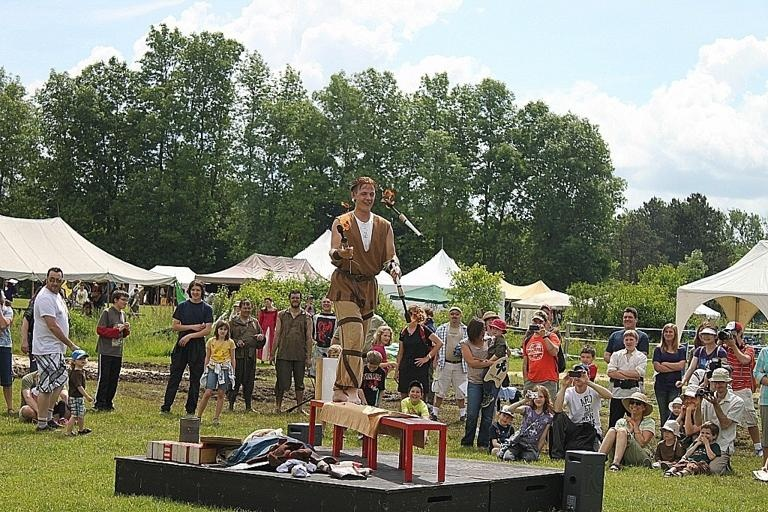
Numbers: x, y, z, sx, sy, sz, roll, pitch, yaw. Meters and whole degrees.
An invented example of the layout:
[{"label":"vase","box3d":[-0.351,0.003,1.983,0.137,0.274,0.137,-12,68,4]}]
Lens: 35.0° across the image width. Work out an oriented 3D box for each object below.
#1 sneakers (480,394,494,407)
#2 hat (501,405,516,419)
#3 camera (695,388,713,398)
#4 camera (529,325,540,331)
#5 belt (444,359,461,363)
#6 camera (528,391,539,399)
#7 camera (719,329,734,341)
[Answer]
[{"label":"sneakers","box3d":[2.932,4.137,34.820,0.178,0.183,0.440,-26,4,37]},{"label":"hat","box3d":[3.474,4.402,34.709,0.383,0.346,0.560,3,-5,7]},{"label":"camera","box3d":[8.838,3.766,33.728,0.562,0.232,0.178,4,-5,-18]},{"label":"camera","box3d":[4.240,2.067,34.964,0.172,0.194,0.396,5,-5,-25]},{"label":"belt","box3d":[2.021,3.123,36.127,0.452,0.102,0.172,3,-5,0]},{"label":"camera","box3d":[4.105,3.861,33.985,0.215,0.216,0.395,4,-5,-6]},{"label":"camera","box3d":[9.762,2.260,34.925,0.314,0.342,0.827,1,-5,30]}]
